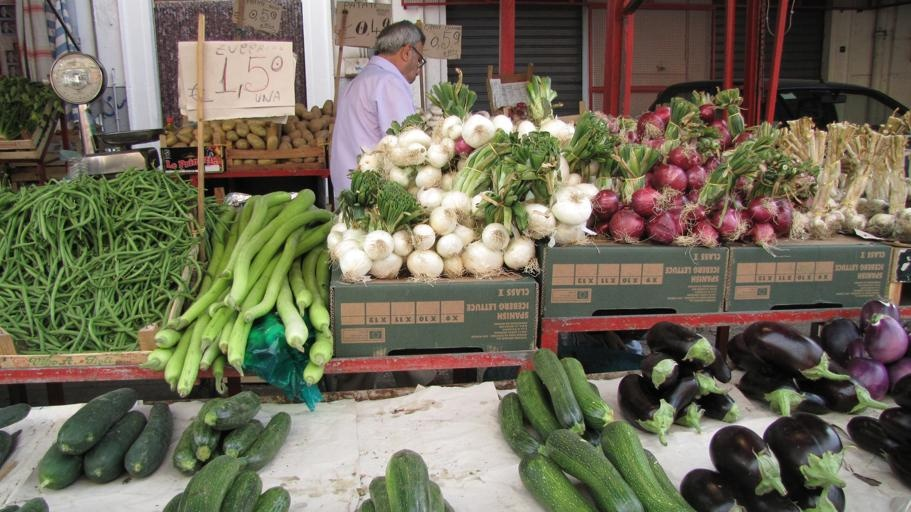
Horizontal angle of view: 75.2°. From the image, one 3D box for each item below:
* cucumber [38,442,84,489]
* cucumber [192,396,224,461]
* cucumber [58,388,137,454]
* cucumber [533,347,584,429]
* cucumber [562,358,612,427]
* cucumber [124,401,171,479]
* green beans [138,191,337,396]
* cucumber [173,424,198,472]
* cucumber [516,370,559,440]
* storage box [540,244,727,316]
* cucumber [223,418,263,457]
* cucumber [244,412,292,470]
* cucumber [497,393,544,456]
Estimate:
[{"bbox_3d":[-2.627,1.400,3.923,0.284,0.283,0.154,-8,13,-27],"label":"cucumber"},{"bbox_3d":[-1.646,1.142,3.975,0.136,0.140,0.427,-16,39,24],"label":"cucumber"},{"bbox_3d":[-2.435,1.106,4.080,0.239,0.192,0.533,21,37,17],"label":"cucumber"},{"bbox_3d":[0.711,0.916,4.076,0.188,0.155,0.647,-22,51,-4],"label":"cucumber"},{"bbox_3d":[0.875,0.939,4.161,0.181,0.191,0.631,15,36,-31],"label":"cucumber"},{"bbox_3d":[-2.061,1.258,4.057,0.168,0.146,0.487,22,24,-4],"label":"cucumber"},{"bbox_3d":[-1.526,0.277,4.835,1.133,0.514,1.957,1,36,3],"label":"green beans"},{"bbox_3d":[-1.787,1.306,3.987,0.145,0.128,0.317,-13,49,2],"label":"cucumber"},{"bbox_3d":[0.522,1.004,4.143,0.157,0.164,0.542,-29,39,5],"label":"cucumber"},{"bbox_3d":[1.418,0.279,5.162,1.562,0.516,1.156,1,-4,-3],"label":"storage box"},{"bbox_3d":[-1.430,1.213,3.990,0.131,0.118,0.278,12,32,31],"label":"cucumber"},{"bbox_3d":[-1.260,1.248,4.055,0.147,0.125,0.419,29,29,2],"label":"cucumber"},{"bbox_3d":[0.430,1.165,4.108,0.157,0.141,0.501,14,25,-22],"label":"cucumber"}]
